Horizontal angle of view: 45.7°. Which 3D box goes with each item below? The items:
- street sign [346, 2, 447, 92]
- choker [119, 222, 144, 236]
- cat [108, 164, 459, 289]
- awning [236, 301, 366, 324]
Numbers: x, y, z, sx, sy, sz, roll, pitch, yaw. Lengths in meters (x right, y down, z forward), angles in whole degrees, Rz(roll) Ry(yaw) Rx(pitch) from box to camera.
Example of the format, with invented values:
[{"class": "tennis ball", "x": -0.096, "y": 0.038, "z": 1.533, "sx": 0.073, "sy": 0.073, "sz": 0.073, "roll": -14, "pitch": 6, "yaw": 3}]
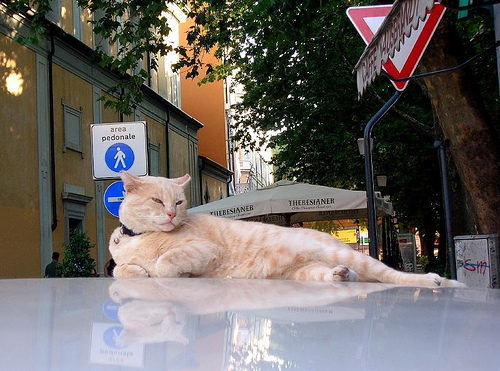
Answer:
[{"class": "street sign", "x": 1.379, "y": -1.402, "z": 5.655, "sx": 0.737, "sy": 0.934, "sz": 0.373, "roll": -3, "pitch": -2, "yaw": 5}, {"class": "choker", "x": -0.796, "y": 0.266, "z": 3.866, "sx": 0.078, "sy": 0.110, "sz": 0.047, "roll": 0, "pitch": 5, "yaw": 21}, {"class": "cat", "x": -0.054, "y": 0.364, "z": 3.577, "sx": 1.250, "sy": 0.489, "sz": 1.034, "roll": -3, "pitch": -17, "yaw": 15}, {"class": "awning", "x": 0.204, "y": 0.500, "z": 2.313, "sx": 0.504, "sy": 0.007, "sz": 0.228, "roll": -1, "pitch": 4, "yaw": -4}]
